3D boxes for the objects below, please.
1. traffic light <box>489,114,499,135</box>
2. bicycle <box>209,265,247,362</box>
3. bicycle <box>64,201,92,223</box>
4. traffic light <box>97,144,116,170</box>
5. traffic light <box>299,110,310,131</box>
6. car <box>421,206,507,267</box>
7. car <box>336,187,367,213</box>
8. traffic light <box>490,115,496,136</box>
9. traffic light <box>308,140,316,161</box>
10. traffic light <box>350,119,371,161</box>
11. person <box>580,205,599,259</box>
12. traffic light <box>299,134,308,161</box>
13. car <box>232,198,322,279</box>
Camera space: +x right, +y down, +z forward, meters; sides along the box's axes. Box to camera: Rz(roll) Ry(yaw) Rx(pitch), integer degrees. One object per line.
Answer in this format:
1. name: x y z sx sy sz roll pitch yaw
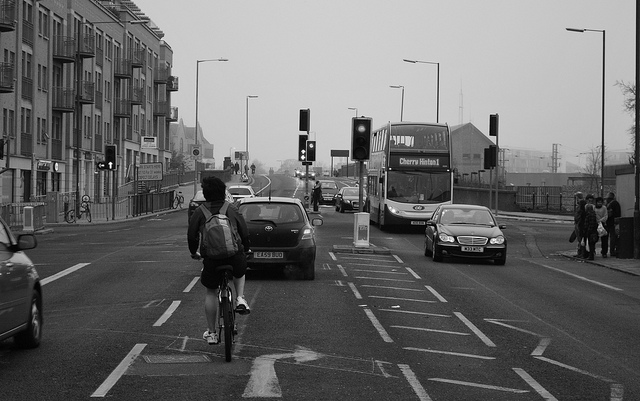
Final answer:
1. traffic light: 11.365 -4.958 42.106 0.458 1.398 1.783 1 1 14
2. bicycle: -1.450 1.698 9.979 0.522 1.438 0.959 1 1 1
3. bicycle: -15.914 0.691 42.560 1.265 1.294 2.699 1 2 -7
4. traffic light: -13.748 -2.815 41.618 1.016 1.513 1.299 0 1 -22
5. traffic light: -0.704 -3.531 28.329 0.312 0.860 0.437 1 1 -6
6. car: 4.990 1.174 22.134 2.580 1.865 2.345 1 2 9
7. car: 2.175 -0.040 50.597 1.356 1.929 3.116 1 2 -5
8. traffic light: 11.253 -4.906 41.864 0.366 1.393 1.400 1 1 15
9. traffic light: -0.464 -2.503 32.536 0.253 0.986 0.646 1 1 35
10. traffic light: 1.395 -2.054 21.795 0.653 1.405 0.399 1 1 3
11. person: 10.037 1.154 23.999 0.556 1.971 0.474 1 1 42
12. traffic light: -0.813 -2.600 32.089 0.410 1.220 1.125 1 1 -1
13. car: -1.019 0.845 15.899 1.520 1.198 2.386 0 5 -2
